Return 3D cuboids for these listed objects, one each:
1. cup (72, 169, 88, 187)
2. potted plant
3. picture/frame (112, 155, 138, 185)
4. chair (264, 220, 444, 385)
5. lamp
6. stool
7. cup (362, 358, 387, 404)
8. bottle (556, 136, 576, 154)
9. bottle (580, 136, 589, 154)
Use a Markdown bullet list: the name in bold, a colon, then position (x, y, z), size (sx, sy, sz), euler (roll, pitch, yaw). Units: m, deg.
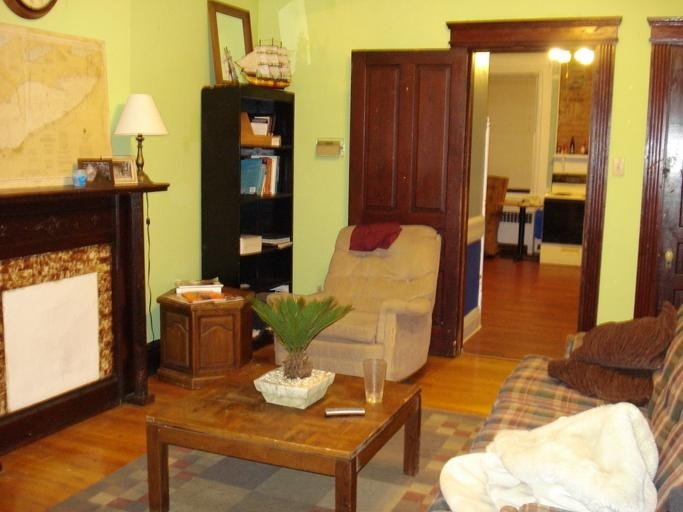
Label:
- **cup**: position (-1.688, -0.505, 3.588), size (0.103, 0.124, 0.106), euler (0, 2, 0)
- **potted plant**: position (-0.196, 0.480, 3.013), size (0.524, 0.530, 0.541), euler (1, -2, 29)
- **picture/frame**: position (-1.482, -0.594, 3.812), size (0.186, 0.184, 0.162), euler (-9, 15, -34)
- **chair**: position (0.162, 0.329, 4.427), size (1.221, 1.218, 1.248), euler (2, 2, 27)
- **lamp**: position (-1.434, -0.830, 3.947), size (0.321, 0.555, 0.317), euler (-2, 4, -44)
- **stool**: position (-1.099, 0.505, 4.505), size (0.743, 0.752, 0.795), euler (13, 25, 11)
- **cup**: position (0.174, 0.661, 2.866), size (0.145, 0.211, 0.152), euler (1, -18, 0)
- **bottle**: position (3.920, -1.948, 9.622), size (0.309, 0.298, 0.085), euler (5, 13, 22)
- **bottle**: position (4.183, -1.888, 9.519), size (0.116, 0.258, 0.160), euler (2, 13, 12)
